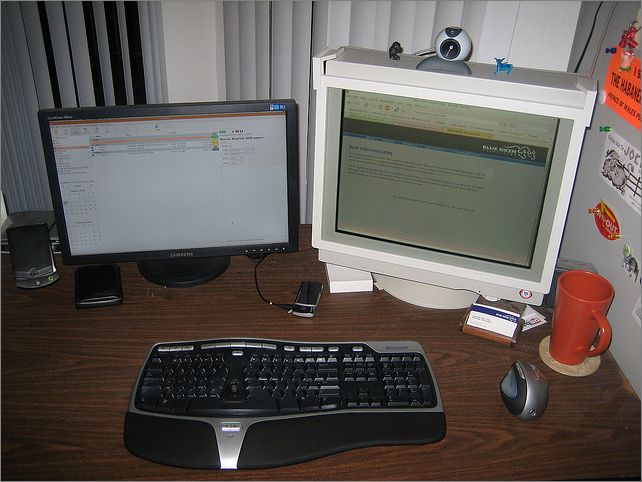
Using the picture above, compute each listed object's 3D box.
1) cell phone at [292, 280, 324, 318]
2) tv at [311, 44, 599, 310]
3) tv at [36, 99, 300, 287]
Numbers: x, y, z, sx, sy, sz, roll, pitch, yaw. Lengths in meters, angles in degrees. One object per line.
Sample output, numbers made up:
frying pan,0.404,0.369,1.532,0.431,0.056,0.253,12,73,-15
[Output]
cell phone,-0.038,0.151,1.288,0.060,0.023,0.126,6,35,10
tv,0.299,-0.134,1.170,0.577,0.536,0.261,12,32,7
tv,-0.365,-0.122,1.257,0.602,0.439,0.205,-4,19,-11
